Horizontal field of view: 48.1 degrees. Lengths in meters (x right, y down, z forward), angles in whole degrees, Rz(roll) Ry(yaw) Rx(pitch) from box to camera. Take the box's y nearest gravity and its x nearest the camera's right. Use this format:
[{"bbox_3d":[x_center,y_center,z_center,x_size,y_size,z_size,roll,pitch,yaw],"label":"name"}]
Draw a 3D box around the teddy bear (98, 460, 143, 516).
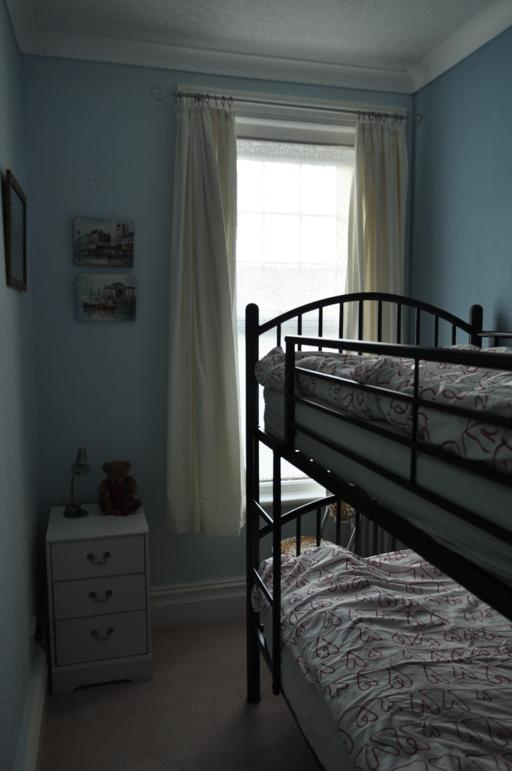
[{"bbox_3d":[-0.540,0.393,2.289,0.134,0.220,0.108,2,23,-7],"label":"teddy bear"}]
